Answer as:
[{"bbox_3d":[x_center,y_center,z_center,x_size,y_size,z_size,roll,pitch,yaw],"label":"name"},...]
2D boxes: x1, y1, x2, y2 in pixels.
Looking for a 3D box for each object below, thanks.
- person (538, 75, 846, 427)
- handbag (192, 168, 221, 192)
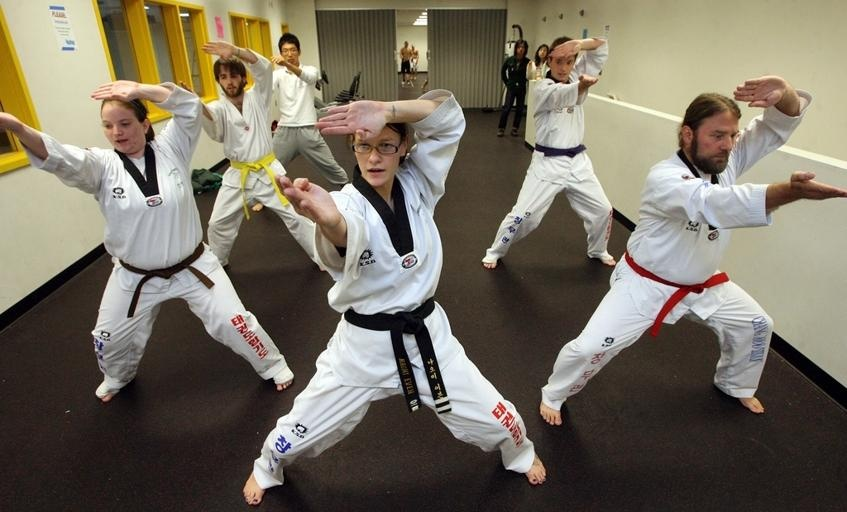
[{"bbox_3d":[1.689,-0.018,3.695,1.504,2.176,0.983,3,28,3],"label":"person"},{"bbox_3d":[-2.741,-0.938,7.013,0.324,0.154,0.417,1,18,-5],"label":"handbag"}]
